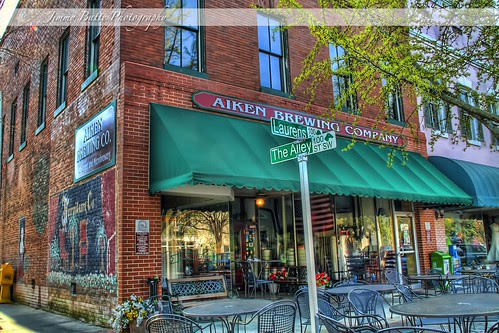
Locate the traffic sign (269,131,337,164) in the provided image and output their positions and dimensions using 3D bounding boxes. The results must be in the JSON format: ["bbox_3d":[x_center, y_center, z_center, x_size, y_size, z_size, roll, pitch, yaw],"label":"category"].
[{"bbox_3d":[1.186,-0.464,10.666,1.173,0.331,0.012,-20,-20,29],"label":"traffic sign"}]
